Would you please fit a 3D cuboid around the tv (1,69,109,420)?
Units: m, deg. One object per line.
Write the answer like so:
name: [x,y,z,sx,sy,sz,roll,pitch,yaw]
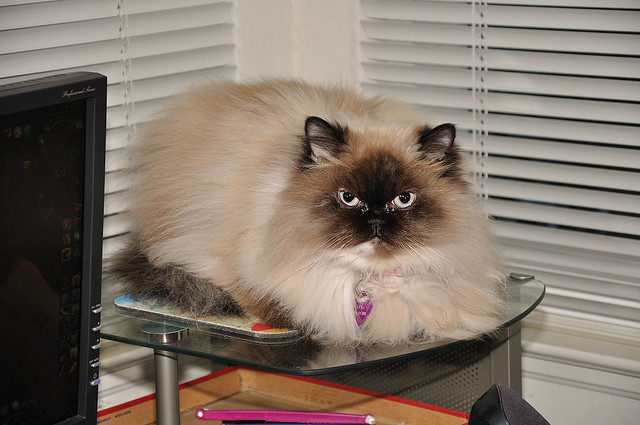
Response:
tv: [-0.445,0.073,1.024,0.174,0.614,0.123,-2,2,-36]
